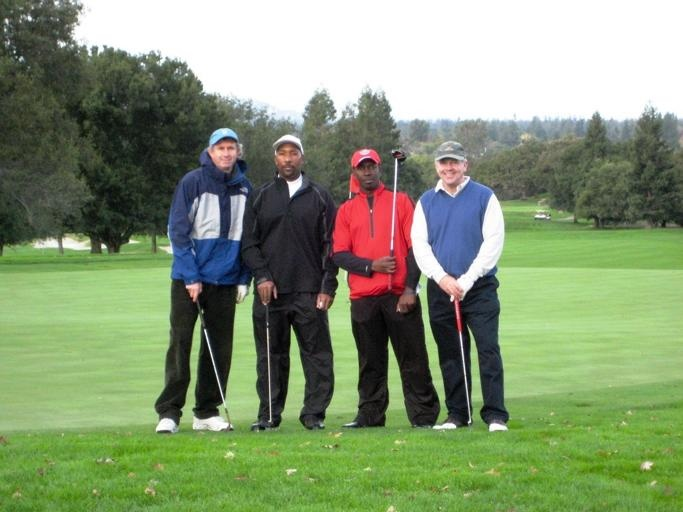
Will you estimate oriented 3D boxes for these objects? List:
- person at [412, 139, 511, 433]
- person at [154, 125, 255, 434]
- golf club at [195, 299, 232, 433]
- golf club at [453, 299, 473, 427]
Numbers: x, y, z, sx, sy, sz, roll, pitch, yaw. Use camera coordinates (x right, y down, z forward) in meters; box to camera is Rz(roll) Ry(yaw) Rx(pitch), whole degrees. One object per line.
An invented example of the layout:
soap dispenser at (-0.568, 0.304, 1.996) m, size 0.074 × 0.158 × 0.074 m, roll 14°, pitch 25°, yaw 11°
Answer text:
person at (1.396, 0.294, 11.605) m, size 1.156 × 3.331 × 0.816 m, roll 0°, pitch 0°, yaw 19°
person at (-1.590, 0.306, 11.757) m, size 1.068 × 3.574 × 0.963 m, roll 1°, pitch 5°, yaw -14°
golf club at (-1.516, 1.298, 11.829) m, size 0.229 × 1.529 × 0.217 m, roll -19°, pitch -4°, yaw 1°
golf club at (1.423, 1.226, 11.568) m, size 0.212 × 1.444 × 0.338 m, roll 0°, pitch 0°, yaw 6°
